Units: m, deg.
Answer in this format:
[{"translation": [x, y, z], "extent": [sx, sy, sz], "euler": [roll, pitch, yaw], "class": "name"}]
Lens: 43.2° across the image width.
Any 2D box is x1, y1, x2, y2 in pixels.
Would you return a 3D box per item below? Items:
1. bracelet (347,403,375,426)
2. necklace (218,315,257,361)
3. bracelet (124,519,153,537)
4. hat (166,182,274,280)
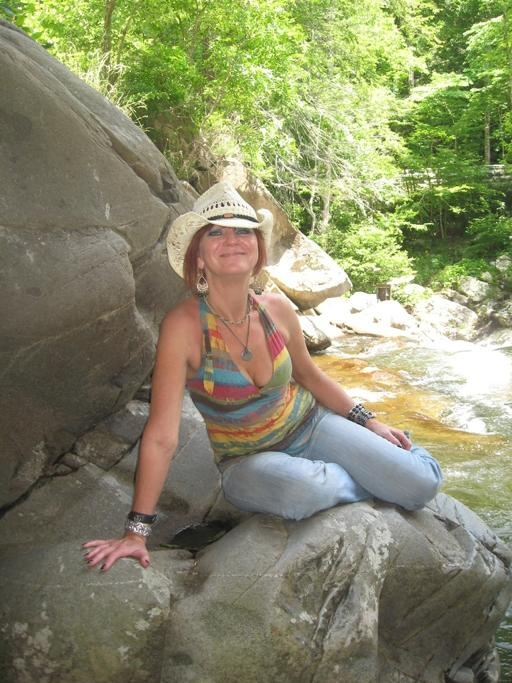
[{"translation": [0.569, 0.400, 3.498], "extent": [0.103, 0.046, 0.137], "euler": [33, 21, 17], "class": "bracelet"}, {"translation": [-0.071, -0.011, 3.035], "extent": [0.174, 0.202, 0.137], "euler": [-3, 13, -36], "class": "necklace"}, {"translation": [-0.491, 0.780, 2.681], "extent": [0.097, 0.041, 0.074], "euler": [13, -12, -23], "class": "bracelet"}, {"translation": [-0.181, -0.524, 3.093], "extent": [0.498, 0.480, 0.374], "euler": [4, 10, -2], "class": "hat"}]
